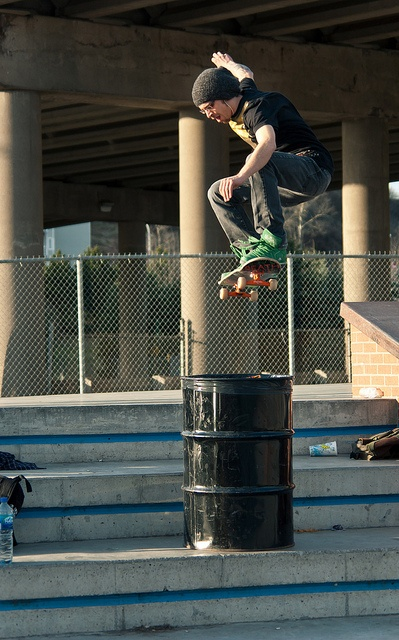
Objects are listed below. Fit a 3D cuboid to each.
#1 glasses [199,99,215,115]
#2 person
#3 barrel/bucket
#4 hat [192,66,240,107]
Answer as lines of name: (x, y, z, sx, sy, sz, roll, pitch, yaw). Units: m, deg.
glasses: (0.068, -1.758, 11.893, 0.123, 0.070, 0.093, 2, -5, -43)
person: (0.455, -1.427, 12.229, 0.915, 2.309, 1.247, -9, -11, 23)
barrel/bucket: (0.325, 1.075, 12.314, 0.854, 1.548, 0.947, -2, 12, -5)
hat: (0.133, -1.879, 11.952, 0.322, 0.337, 0.262, 5, -11, -19)
